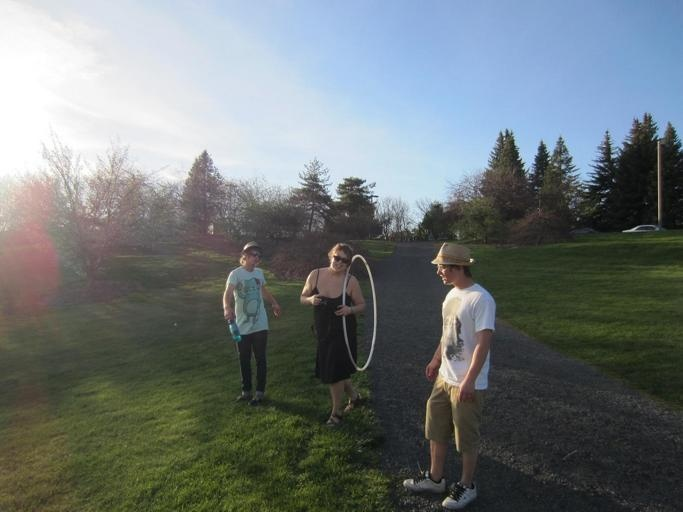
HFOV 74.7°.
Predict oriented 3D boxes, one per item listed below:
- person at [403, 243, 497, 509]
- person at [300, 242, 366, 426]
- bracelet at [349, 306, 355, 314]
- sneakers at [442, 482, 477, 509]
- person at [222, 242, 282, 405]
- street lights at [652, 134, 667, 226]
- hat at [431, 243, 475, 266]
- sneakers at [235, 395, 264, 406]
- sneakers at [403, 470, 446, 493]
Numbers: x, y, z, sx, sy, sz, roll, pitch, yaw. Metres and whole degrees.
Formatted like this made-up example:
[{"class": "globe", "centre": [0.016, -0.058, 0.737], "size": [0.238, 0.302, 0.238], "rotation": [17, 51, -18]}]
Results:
[{"class": "person", "centre": [1.412, 1.493, 5.562], "size": [0.823, 3.194, 0.802], "rotation": [3, 13, 21]}, {"class": "person", "centre": [-0.093, 1.183, 7.103], "size": [0.782, 2.722, 0.796], "rotation": [-7, 13, -25]}, {"class": "bracelet", "centre": [0.155, 0.826, 6.804], "size": [0.062, 0.109, 0.033], "rotation": [9, -8, 6]}, {"class": "sneakers", "centre": [1.453, 2.995, 5.560], "size": [0.202, 0.251, 0.557], "rotation": [-13, -14, 42]}, {"class": "person", "centre": [-1.578, 1.187, 7.801], "size": [0.751, 2.766, 0.872], "rotation": [2, 12, 15]}, {"class": "street lights", "centre": [34.357, -8.078, 48.331], "size": [0.889, 10.225, 0.922], "rotation": [0, -19, 36]}, {"class": "hat", "centre": [1.367, -0.006, 5.649], "size": [0.398, 0.198, 0.362], "rotation": [2, 2, 28]}, {"class": "sneakers", "centre": [-1.594, 2.467, 7.772], "size": [0.455, 0.229, 0.183], "rotation": [7, -13, 17]}, {"class": "sneakers", "centre": [1.065, 2.940, 5.894], "size": [0.580, 0.303, 0.229], "rotation": [3, -6, 7]}]
